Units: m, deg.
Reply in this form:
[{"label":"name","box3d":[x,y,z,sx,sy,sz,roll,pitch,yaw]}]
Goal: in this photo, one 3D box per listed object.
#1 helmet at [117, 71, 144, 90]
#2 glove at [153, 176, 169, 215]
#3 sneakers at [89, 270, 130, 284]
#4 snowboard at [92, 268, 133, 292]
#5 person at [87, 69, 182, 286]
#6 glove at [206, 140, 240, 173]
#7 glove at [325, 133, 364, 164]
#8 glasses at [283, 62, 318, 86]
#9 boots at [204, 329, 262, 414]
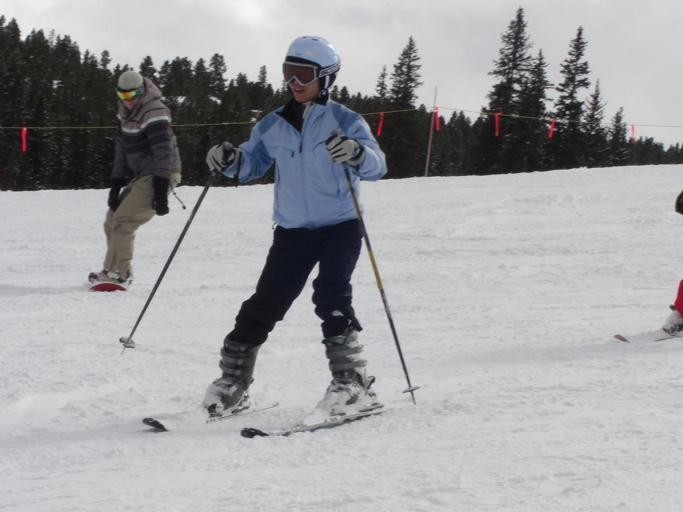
[{"label":"helmet","box3d":[-1.900,-1.572,8.603,0.220,0.177,0.282,-2,13,-10]},{"label":"glove","box3d":[-1.656,-0.551,8.801,0.157,0.392,0.225,-3,14,-10]},{"label":"sneakers","box3d":[-2.153,0.190,9.011,0.418,0.145,0.140,8,-1,-13]},{"label":"snowboard","box3d":[-2.153,0.241,8.994,0.355,0.134,0.187,4,-6,-10]},{"label":"person","box3d":[-1.946,-0.705,8.934,0.797,2.017,0.563,0,14,-1]},{"label":"glove","box3d":[-0.793,-0.675,6.497,0.189,0.101,0.231,-20,13,16]},{"label":"glove","box3d":[0.022,-0.678,6.133,0.193,0.215,0.207,5,15,20]},{"label":"glasses","box3d":[-0.268,-1.186,6.242,0.261,0.111,0.252,4,5,11]},{"label":"boots","box3d":[-0.728,0.784,6.269,0.217,0.392,0.623,9,11,17]}]
